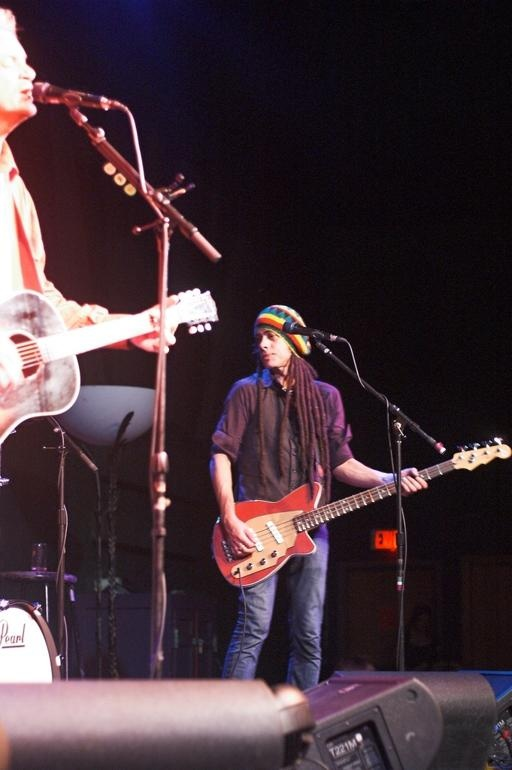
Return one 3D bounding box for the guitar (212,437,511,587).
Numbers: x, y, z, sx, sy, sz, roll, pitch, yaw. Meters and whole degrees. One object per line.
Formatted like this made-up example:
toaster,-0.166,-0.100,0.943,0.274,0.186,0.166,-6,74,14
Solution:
guitar,0.399,0.544,3.589,1.149,0.570,0.188,2,-6,-17
